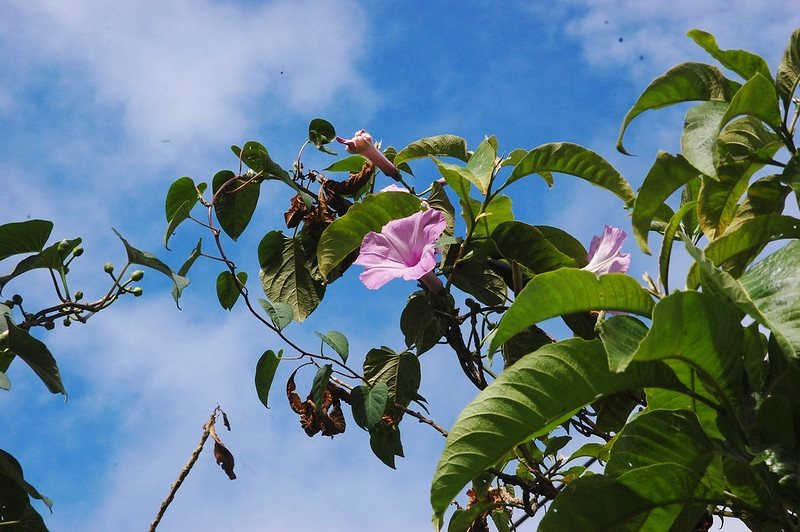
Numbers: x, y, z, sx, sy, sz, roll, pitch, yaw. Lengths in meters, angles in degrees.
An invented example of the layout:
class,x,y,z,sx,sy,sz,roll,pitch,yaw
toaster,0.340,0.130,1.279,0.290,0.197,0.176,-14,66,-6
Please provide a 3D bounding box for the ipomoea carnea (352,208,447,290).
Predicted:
class,x,y,z,sx,sy,sz,roll,pitch,yaw
ipomoea carnea,0.062,-0.039,4.176,0.264,0.301,0.121,28,-54,38
